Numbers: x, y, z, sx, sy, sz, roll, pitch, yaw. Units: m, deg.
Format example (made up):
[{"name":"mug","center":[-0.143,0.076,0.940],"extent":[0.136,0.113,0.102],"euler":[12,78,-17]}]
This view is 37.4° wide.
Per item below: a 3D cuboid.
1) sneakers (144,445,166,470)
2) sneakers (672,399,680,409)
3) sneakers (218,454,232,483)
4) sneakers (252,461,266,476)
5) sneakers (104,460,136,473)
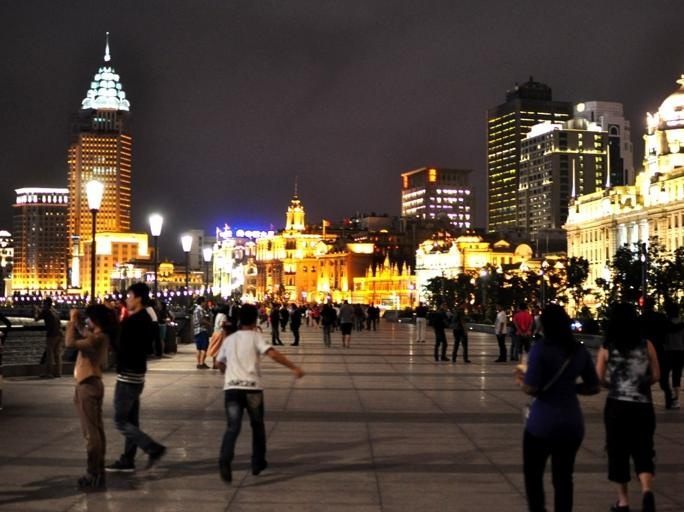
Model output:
[{"name":"sneakers","center":[-2.617,2.830,14.156],"extent":[0.136,0.403,0.183],"euler":[43,-7,-2]},{"name":"sneakers","center":[6.573,2.936,19.924],"extent":[0.153,0.151,0.161],"euler":[4,-8,-29]},{"name":"sneakers","center":[-1.552,2.846,13.453],"extent":[0.155,0.387,0.160],"euler":[0,-5,-10]},{"name":"sneakers","center":[-1.125,2.936,13.982],"extent":[0.161,0.211,0.253],"euler":[-4,-5,34]},{"name":"sneakers","center":[-3.107,2.976,14.220],"extent":[0.444,0.171,0.166],"euler":[6,-3,4]}]
